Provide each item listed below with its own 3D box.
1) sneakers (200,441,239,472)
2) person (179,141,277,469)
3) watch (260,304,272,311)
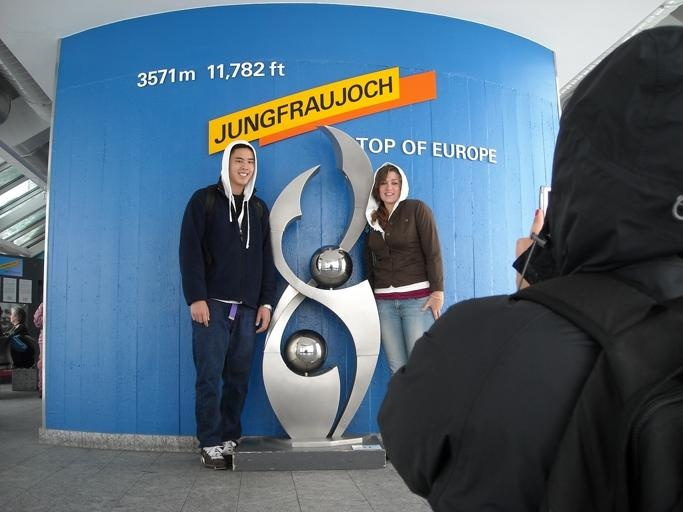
[{"bbox_3d":[-0.668,1.087,2.956,0.092,0.134,0.265,13,-25,-28],"label":"sneakers"},{"bbox_3d":[-0.653,0.244,3.132,0.554,1.831,0.274,7,-10,-44],"label":"person"},{"bbox_3d":[-0.447,0.306,3.198,0.051,0.038,0.052,0,-10,27],"label":"watch"}]
